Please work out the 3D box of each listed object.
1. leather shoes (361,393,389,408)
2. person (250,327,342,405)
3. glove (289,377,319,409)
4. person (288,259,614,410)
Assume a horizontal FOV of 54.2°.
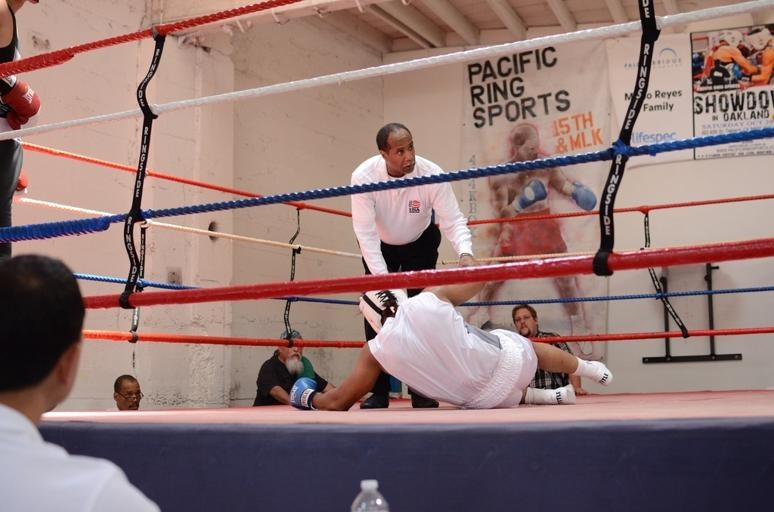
[{"bbox_3d":[-0.063,0.742,3.896,0.058,0.064,0.162,-11,-19,36],"label":"leather shoes"},{"bbox_3d":[-0.709,0.978,5.735,0.571,0.706,0.531,7,-7,-31],"label":"person"},{"bbox_3d":[-0.385,0.619,3.459,0.105,0.066,0.158,-16,9,-14],"label":"glove"},{"bbox_3d":[0.321,0.337,3.306,1.331,0.554,0.664,-3,-14,14],"label":"person"}]
